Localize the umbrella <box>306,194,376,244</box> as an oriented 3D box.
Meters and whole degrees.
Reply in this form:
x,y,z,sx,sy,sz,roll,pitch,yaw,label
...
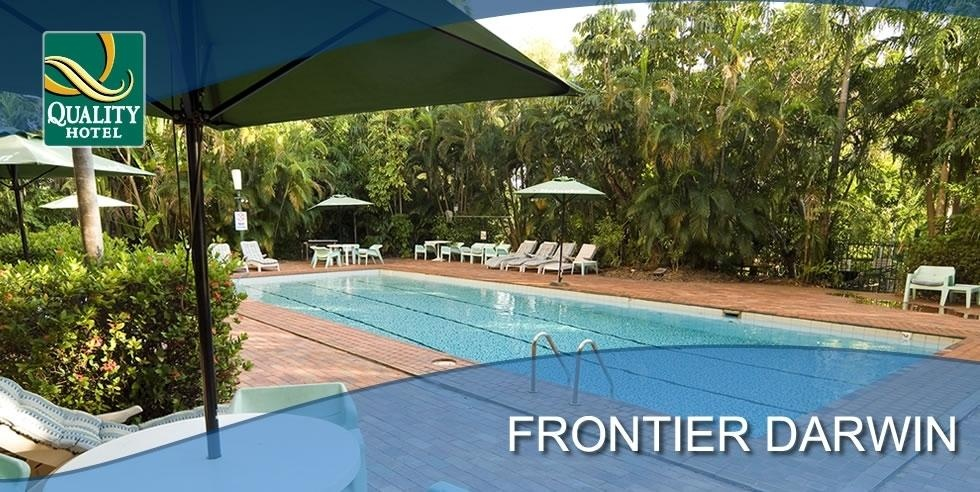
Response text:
x,y,z,sx,sy,sz,roll,pitch,yaw,label
-6.069,-1.299,25.144,2.301,2.001,2.324,1,4,0,umbrella

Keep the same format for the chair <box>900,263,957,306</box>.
x,y,z,sx,sy,sz,roll,pitch,yaw,label
12.119,1.058,17.109,1.170,1.224,1.323,1,1,43,chair
